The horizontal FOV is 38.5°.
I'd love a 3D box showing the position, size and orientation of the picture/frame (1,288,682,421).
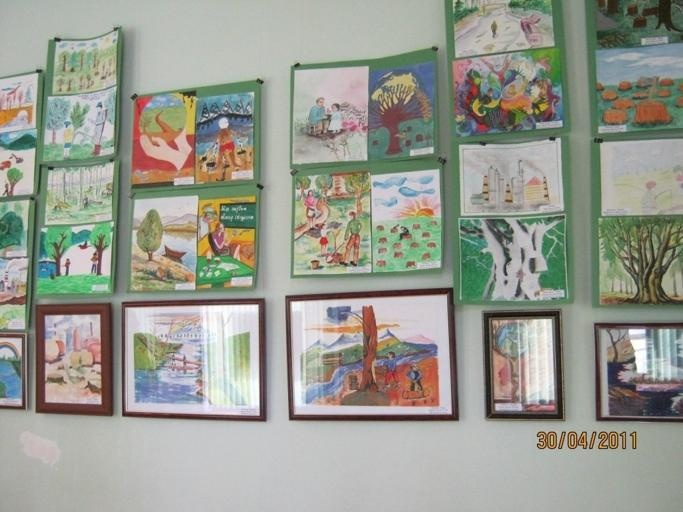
[{"bbox_3d":[0.537,0.406,4.037,1.711,0.544,0.042,-3,-4,8],"label":"picture/frame"}]
